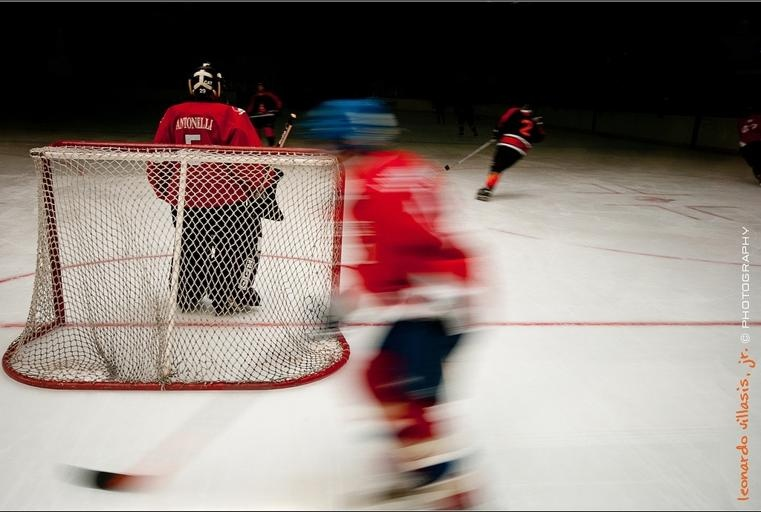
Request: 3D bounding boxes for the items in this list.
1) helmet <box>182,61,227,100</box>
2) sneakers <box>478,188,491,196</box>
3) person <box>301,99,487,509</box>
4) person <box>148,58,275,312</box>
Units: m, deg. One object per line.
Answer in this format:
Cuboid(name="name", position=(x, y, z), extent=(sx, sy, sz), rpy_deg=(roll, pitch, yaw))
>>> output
Cuboid(name="helmet", position=(-1.344, -1.359, 5.037), extent=(0.264, 0.284, 0.280), rpy_deg=(0, 23, -11))
Cuboid(name="sneakers", position=(1.433, -0.885, 9.067), extent=(0.195, 0.112, 0.151), rpy_deg=(1, -9, 3))
Cuboid(name="person", position=(0.129, 0.273, 3.528), extent=(0.698, 2.177, 1.259), rpy_deg=(-9, 29, -27))
Cuboid(name="person", position=(-1.324, -0.465, 5.005), extent=(0.850, 1.891, 0.863), rpy_deg=(-6, 29, -23))
